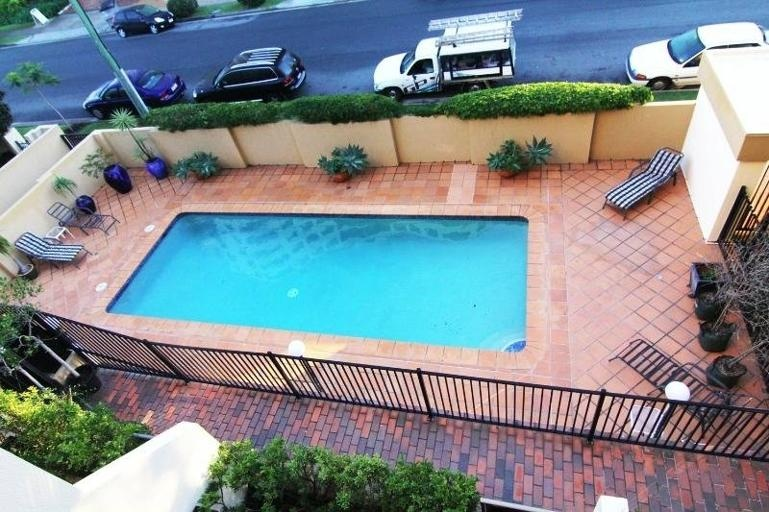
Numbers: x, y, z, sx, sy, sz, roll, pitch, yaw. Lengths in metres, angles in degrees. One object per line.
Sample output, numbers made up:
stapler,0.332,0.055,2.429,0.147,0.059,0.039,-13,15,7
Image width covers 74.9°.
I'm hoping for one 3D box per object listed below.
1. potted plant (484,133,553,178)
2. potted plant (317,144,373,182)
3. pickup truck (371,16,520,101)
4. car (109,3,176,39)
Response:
potted plant,3.622,-2.581,13.483,1.506,0.722,0.942,15,53,18
potted plant,-1.102,-2.724,14.505,1.182,0.805,1.174,-23,51,-21
pickup truck,2.030,-6.240,15.924,4.761,2.177,2.029,-1,33,12
car,-11.653,-11.181,24.520,2.569,1.129,1.532,-3,50,4
